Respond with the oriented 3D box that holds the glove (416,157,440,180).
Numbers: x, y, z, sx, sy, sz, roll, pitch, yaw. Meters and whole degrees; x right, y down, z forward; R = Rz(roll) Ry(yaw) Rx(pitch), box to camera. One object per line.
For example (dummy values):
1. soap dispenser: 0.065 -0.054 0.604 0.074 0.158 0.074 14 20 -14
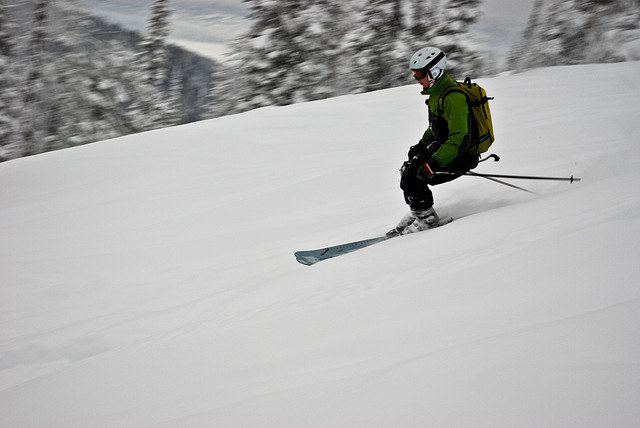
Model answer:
1. glove: 2.051 -0.837 13.146 0.315 0.427 0.158 48 9 30
